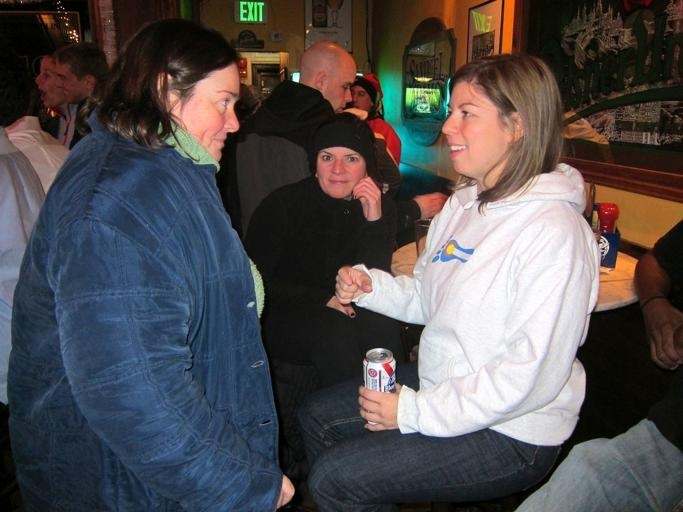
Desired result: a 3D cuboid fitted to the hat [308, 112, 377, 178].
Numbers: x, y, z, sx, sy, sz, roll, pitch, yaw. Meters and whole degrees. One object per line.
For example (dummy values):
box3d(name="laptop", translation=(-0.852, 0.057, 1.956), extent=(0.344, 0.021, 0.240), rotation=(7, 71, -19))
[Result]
box3d(name="hat", translation=(0.016, -0.530, 2.625), extent=(0.279, 0.297, 0.318), rotation=(3, 6, 4))
